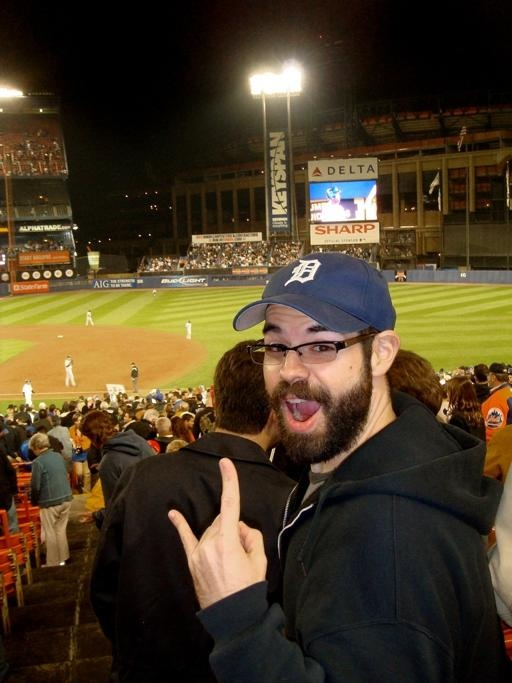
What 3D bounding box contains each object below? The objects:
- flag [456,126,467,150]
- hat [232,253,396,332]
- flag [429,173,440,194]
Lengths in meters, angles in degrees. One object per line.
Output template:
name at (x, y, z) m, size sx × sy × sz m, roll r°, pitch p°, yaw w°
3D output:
flag at (19.857, -19.688, 49.727) m, size 0.951 × 2.483 × 4.129 m, roll -3°, pitch 9°, yaw 22°
hat at (0.208, -0.139, 1.587) m, size 0.390 × 0.179 × 0.278 m, roll 0°, pitch -3°, yaw -41°
flag at (17.479, -15.583, 50.371) m, size 1.099 × 1.926 × 2.504 m, roll -3°, pitch 9°, yaw 18°
